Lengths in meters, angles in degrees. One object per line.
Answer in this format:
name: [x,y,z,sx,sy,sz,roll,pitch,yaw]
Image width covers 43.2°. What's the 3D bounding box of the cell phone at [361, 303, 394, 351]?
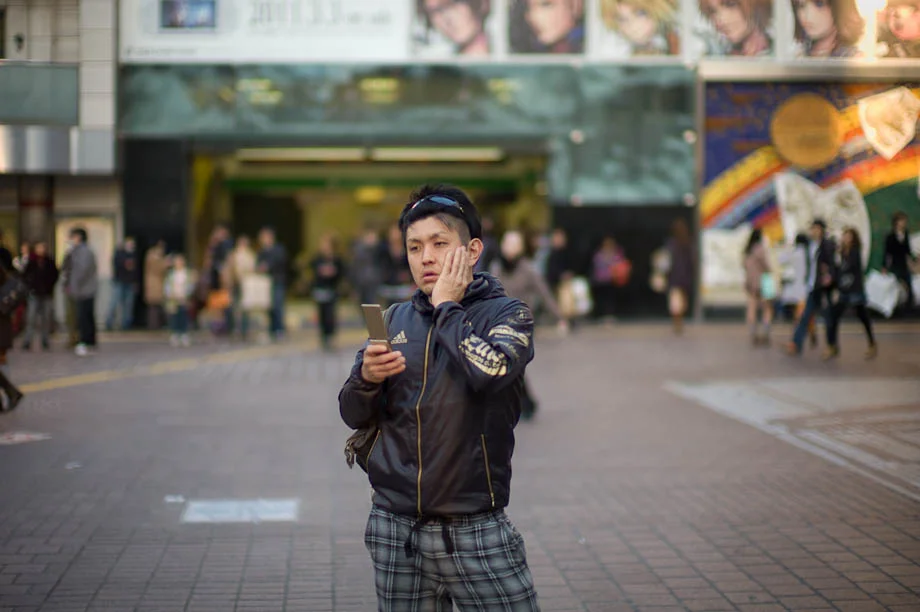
cell phone: [-0.398,0.092,5.447,0.119,0.204,0.159,-2,3,-1]
